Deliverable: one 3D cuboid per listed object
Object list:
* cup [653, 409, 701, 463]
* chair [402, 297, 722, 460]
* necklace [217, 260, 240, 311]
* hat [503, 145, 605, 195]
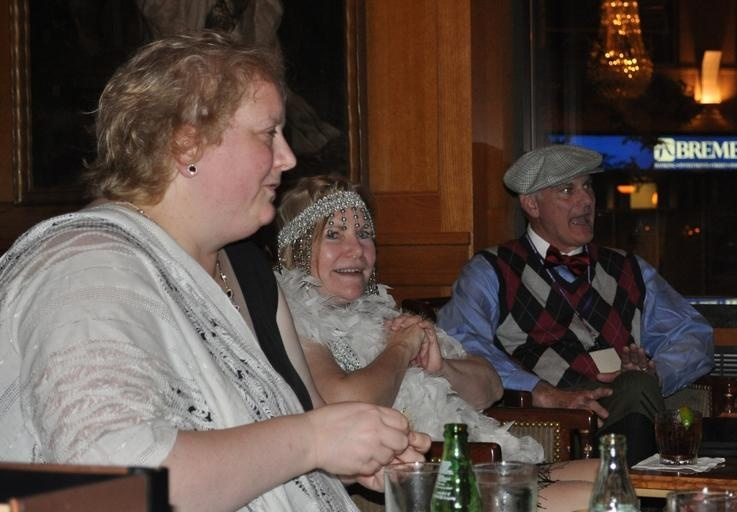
[{"bbox_3d":[1.026,0.597,2.909,0.194,0.191,0.180,-1,-7,0],"label":"cup"},{"bbox_3d":[0.770,0.487,3.945,0.910,0.992,0.782,-4,-8,40],"label":"chair"},{"bbox_3d":[-0.396,0.092,2.472,0.033,0.144,0.037,-21,-19,-10],"label":"necklace"},{"bbox_3d":[0.856,-0.425,4.285,0.336,0.090,0.313,-15,9,-21],"label":"hat"}]
